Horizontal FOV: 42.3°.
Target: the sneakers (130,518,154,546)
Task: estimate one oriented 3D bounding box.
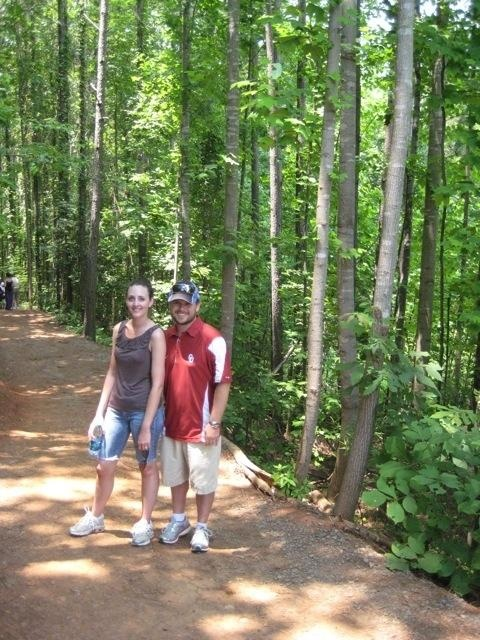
[{"bbox_3d":[-0.736,1.593,4.601,0.108,0.105,0.252,0,-8,1],"label":"sneakers"}]

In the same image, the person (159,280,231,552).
[{"bbox_3d":[-0.380,0.732,4.625,0.643,1.816,0.334,11,3,1],"label":"person"}]

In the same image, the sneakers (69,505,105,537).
[{"bbox_3d":[-1.220,1.545,4.656,0.132,0.189,0.328,-14,-20,37],"label":"sneakers"}]

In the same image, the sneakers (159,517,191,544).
[{"bbox_3d":[-0.491,1.624,4.789,0.120,0.131,0.290,4,8,24],"label":"sneakers"}]

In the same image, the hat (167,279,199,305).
[{"bbox_3d":[-0.411,-0.196,4.597,0.219,0.153,0.207,9,2,-5],"label":"hat"}]

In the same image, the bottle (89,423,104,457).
[{"bbox_3d":[-1.052,0.899,4.534,0.099,0.199,0.075,10,3,-10],"label":"bottle"}]
